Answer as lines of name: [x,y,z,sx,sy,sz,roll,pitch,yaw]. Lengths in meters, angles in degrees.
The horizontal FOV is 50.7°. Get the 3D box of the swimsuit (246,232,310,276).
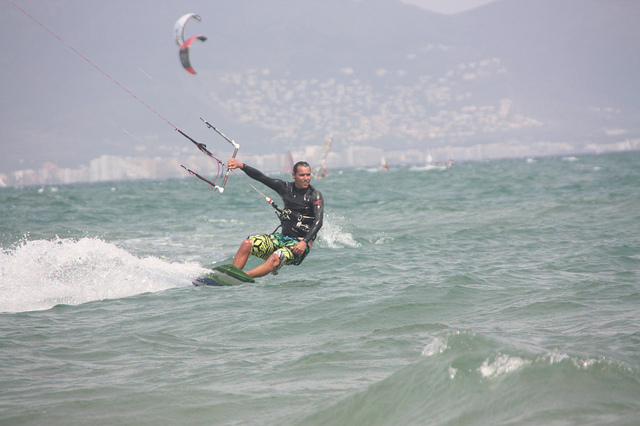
swimsuit: [-1.018,0.973,15.723,1.208,0.937,0.663,-2,3,-2]
